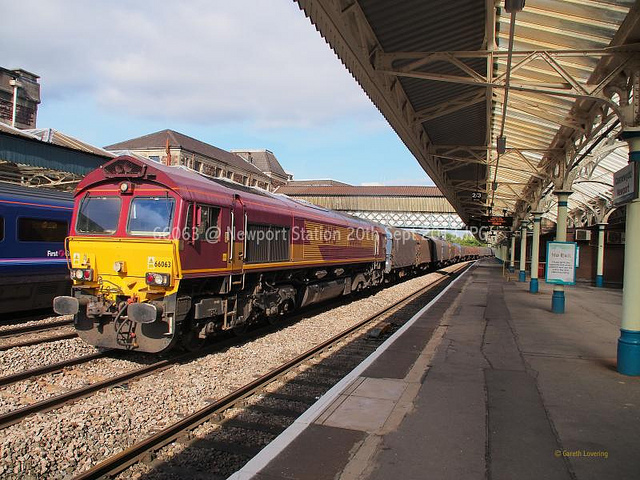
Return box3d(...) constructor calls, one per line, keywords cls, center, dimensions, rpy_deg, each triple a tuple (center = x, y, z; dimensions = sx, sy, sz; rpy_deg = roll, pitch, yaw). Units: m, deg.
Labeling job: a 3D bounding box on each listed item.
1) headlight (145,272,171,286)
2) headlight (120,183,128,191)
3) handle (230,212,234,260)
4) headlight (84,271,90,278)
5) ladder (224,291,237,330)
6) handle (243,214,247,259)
box3d(cls="headlight", center=(-3.125, 0.752, 8.130), dimensions=(0.544, 0.245, 0.130), rpy_deg=(4, 5, 19))
box3d(cls="headlight", center=(-4.062, -1.102, 8.746), dimensions=(0.168, 0.158, 0.038), rpy_deg=(5, 5, 24))
box3d(cls="handle", center=(-2.034, -0.094, 9.739), dimensions=(0.070, 1.048, 0.263), rpy_deg=(3, 5, -12))
box3d(cls="headlight", center=(-4.736, 0.702, 8.571), dimensions=(0.154, 0.132, 0.033), rpy_deg=(6, 5, 31))
box3d(cls="ladder", center=(-2.132, 1.692, 10.047), dimensions=(0.271, 0.812, 0.729), rpy_deg=(3, 4, -4))
box3d(cls="handle", center=(-1.814, -0.082, 10.243), dimensions=(0.091, 1.076, 0.304), rpy_deg=(3, 5, -10))
